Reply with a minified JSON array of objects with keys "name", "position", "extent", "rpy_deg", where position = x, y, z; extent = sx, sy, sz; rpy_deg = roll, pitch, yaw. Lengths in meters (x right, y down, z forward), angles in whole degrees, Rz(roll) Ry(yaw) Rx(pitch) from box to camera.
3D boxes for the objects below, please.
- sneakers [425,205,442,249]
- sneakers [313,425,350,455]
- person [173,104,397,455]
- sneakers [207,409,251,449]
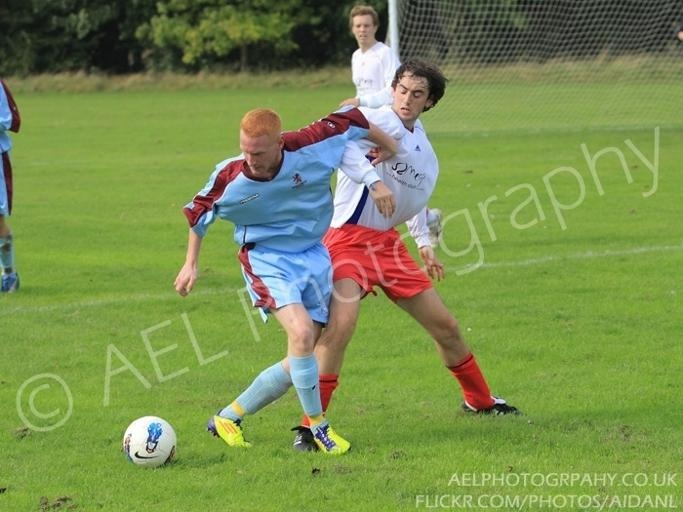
[{"name":"sneakers","position":[1.147,-0.339,13.887],"extent":[0.187,0.508,0.243],"rpy_deg":[5,28,34]},{"name":"sneakers","position":[-0.111,1.666,10.281],"extent":[0.362,0.194,0.152],"rpy_deg":[34,-11,21]},{"name":"person","position":[-0.490,0.201,10.267],"extent":[1.689,3.019,0.798],"rpy_deg":[-3,14,-4]},{"name":"sneakers","position":[-0.999,1.573,10.399],"extent":[0.509,0.212,0.179],"rpy_deg":[36,-3,-24]}]
